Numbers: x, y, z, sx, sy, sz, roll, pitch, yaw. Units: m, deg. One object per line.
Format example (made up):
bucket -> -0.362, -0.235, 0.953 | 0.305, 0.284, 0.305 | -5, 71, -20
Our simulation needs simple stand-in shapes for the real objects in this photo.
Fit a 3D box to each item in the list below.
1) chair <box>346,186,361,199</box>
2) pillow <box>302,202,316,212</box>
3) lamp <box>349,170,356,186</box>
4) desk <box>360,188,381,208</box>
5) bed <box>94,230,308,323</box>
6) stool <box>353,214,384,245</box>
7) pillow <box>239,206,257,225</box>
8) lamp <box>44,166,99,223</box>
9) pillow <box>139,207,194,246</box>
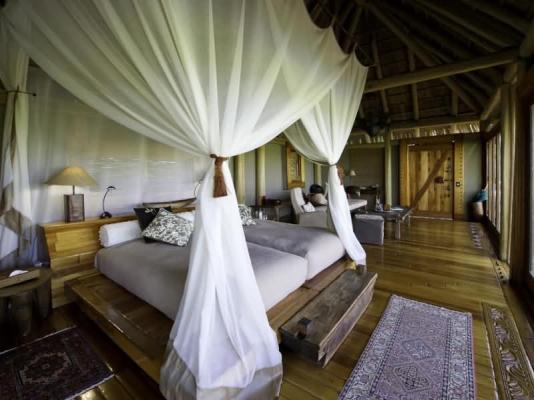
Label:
chair -> 2.656, -0.260, 9.198 | 0.448, 0.378, 0.631 | -1, 3, 17
pillow -> 0.866, 0.162, 6.177 | 0.063, 0.206, 0.211 | -39, -5, 28
lamp -> 2.723, -0.725, 9.471 | 0.223, 0.504, 0.602 | 0, 3, 15
desk -> 3.041, -0.095, 8.719 | 0.335, 0.588, 0.555 | -2, 1, -42
bed -> -0.808, 0.681, 2.816 | 1.233, 0.461, 0.953 | 7, 9, 31
stool -> 1.830, 0.524, 5.338 | 0.464, 0.483, 0.498 | 0, 1, 17
pillow -> -0.310, 0.208, 4.485 | 0.068, 0.300, 0.269 | -30, -29, 33
lamp -> -2.307, -0.085, 3.504 | 0.491, 0.662, 0.328 | -4, 4, -40
pillow -> -1.168, 0.352, 3.554 | 0.484, 0.171, 0.549 | 23, 38, -3
